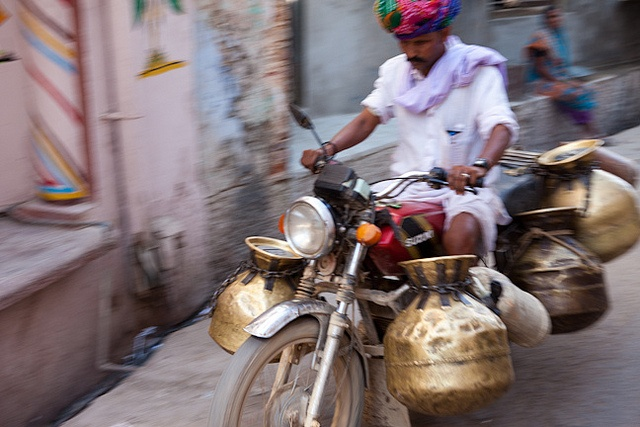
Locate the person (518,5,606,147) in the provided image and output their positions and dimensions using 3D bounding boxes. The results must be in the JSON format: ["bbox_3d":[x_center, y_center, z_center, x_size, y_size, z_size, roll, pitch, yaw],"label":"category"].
[{"bbox_3d":[3.034,-1.711,7.133,0.793,1.555,0.406,-3,25,18],"label":"person"}]

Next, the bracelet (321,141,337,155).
[{"bbox_3d":[0.057,-0.385,3.284,0.084,0.094,0.050,9,43,1],"label":"bracelet"}]
